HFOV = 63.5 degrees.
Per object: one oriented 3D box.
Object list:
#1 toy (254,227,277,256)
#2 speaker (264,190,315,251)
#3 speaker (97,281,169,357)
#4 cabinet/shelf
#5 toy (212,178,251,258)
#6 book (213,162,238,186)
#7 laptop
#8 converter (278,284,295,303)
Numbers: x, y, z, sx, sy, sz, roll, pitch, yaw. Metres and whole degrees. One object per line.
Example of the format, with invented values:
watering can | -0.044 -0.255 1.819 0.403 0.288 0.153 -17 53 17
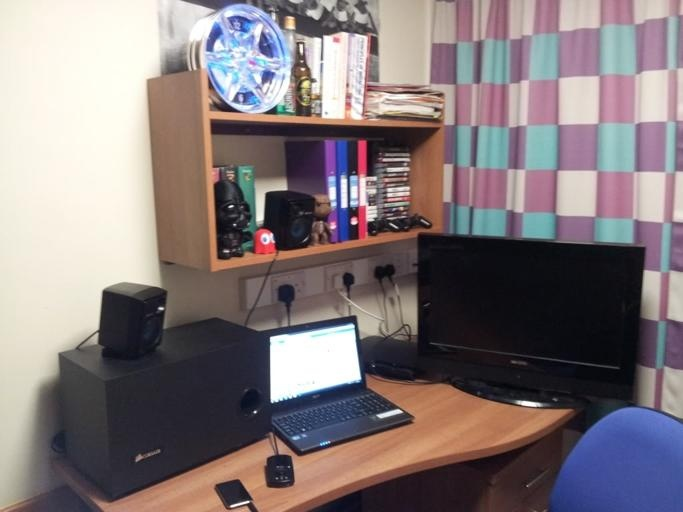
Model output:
toy | -0.248 -0.042 1.791 0.077 0.090 0.080 1 4 27
speaker | -0.173 -0.120 1.848 0.192 0.236 0.169 7 10 36
speaker | -0.582 0.181 1.675 0.200 0.247 0.172 6 4 -1
cabinet/shelf | -0.097 -0.299 2.078 1.126 0.603 0.333 -10 16 -43
toy | -0.338 -0.113 1.710 0.108 0.236 0.082 -5 12 -9
book | -0.377 -0.268 1.797 0.064 0.063 0.065 3 6 44
laptop | -0.053 0.446 1.880 0.437 0.266 0.381 -7 17 -35
converter | -0.210 0.142 2.131 0.066 0.070 0.066 -3 10 -18
